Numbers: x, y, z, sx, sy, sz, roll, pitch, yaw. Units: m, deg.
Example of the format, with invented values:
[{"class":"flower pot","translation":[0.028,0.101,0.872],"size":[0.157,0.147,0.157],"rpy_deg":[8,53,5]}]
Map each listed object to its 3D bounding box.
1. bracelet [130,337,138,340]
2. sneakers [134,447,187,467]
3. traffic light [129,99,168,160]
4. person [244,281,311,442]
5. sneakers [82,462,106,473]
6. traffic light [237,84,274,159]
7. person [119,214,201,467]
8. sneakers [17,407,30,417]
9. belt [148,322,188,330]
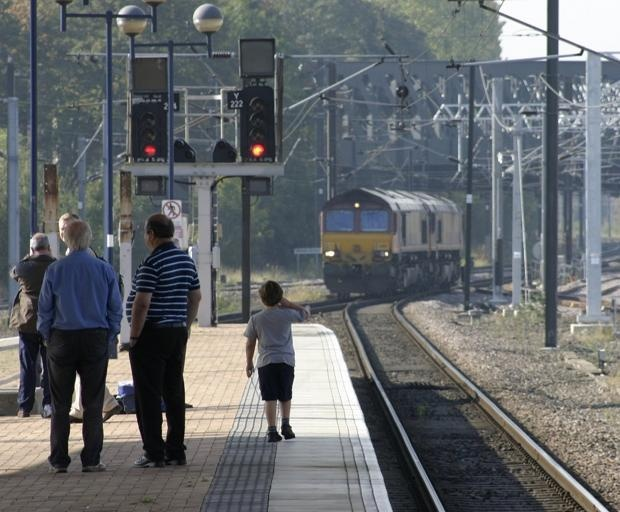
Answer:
[{"class":"bracelet","translation":[-1.673,0.775,9.516],"size":[0.048,0.036,0.032],"rpy_deg":[-1,1,11]},{"class":"sneakers","translation":[-1.460,1.939,9.772],"size":[0.466,0.232,0.185],"rpy_deg":[2,-5,-1]},{"class":"traffic light","translation":[-2.952,-2.263,18.267],"size":[0.677,0.751,0.357],"rpy_deg":[-3,2,-7]},{"class":"person","translation":[-0.373,1.137,10.679],"size":[0.672,1.763,0.581],"rpy_deg":[-4,2,-43]},{"class":"sneakers","translation":[-2.070,2.030,9.655],"size":[0.236,0.123,0.083],"rpy_deg":[-3,6,-40]},{"class":"traffic light","translation":[-0.942,-2.377,17.857],"size":[0.658,1.362,0.574],"rpy_deg":[-2,2,-2]},{"class":"person","translation":[-1.410,0.827,9.704],"size":[0.673,1.694,0.371],"rpy_deg":[-3,2,-14]},{"class":"sneakers","translation":[-3.363,1.844,11.757],"size":[0.058,0.084,0.173],"rpy_deg":[1,-4,-39]},{"class":"belt","translation":[-1.370,0.657,9.600],"size":[0.368,0.082,0.060],"rpy_deg":[-4,2,-26]}]
